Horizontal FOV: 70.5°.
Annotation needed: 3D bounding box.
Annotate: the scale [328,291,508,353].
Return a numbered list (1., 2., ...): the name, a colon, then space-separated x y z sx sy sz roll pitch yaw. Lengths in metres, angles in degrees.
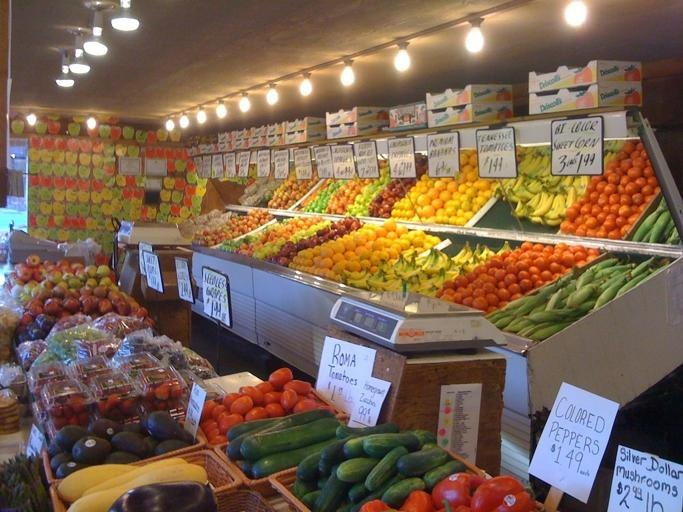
1. scale: 0.332 0.304 2.280 0.529 0.208 0.689 -7 11 -33

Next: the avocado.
1. avocado: -0.941 0.784 2.087 0.479 0.227 0.426 12 16 40

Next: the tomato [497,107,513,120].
1. tomato: 1.468 -1.272 4.318 0.112 0.113 0.207 5 11 35
